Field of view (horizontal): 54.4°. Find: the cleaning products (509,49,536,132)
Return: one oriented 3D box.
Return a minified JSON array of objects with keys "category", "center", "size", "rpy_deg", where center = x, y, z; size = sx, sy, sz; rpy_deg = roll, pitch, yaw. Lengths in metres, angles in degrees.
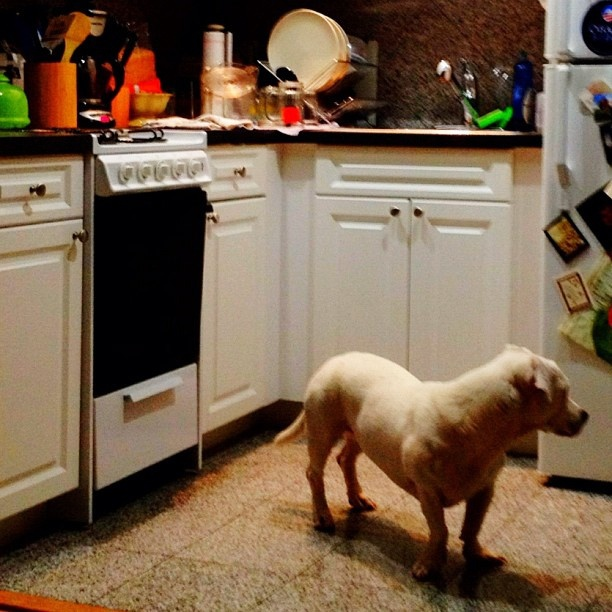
[{"category":"cleaning products","center":[0.823,-0.828,2.272],"size":[0.093,0.339,0.204],"rpy_deg":[1,4,18]}]

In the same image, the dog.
[{"category":"dog","center":[0.249,0.319,1.275],"size":[0.589,0.492,0.236],"rpy_deg":[4,6,42]}]

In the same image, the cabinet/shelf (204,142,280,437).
[{"category":"cabinet/shelf","center":[-0.205,-0.079,1.974],"size":[0.112,0.920,0.460],"rpy_deg":[1,4,21]}]

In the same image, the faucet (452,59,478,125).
[{"category":"faucet","center":[0.654,-0.895,2.410],"size":[0.098,0.240,0.097],"rpy_deg":[-1,4,-13]}]

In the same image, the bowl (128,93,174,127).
[{"category":"bowl","center":[-0.562,-0.679,2.128],"size":[0.141,0.091,0.137],"rpy_deg":[2,14,0]}]

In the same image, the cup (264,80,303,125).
[{"category":"cup","center":[-0.088,-0.762,2.244],"size":[0.149,0.199,0.197],"rpy_deg":[0,4,-3]}]

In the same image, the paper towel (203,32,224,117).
[{"category":"paper towel","center":[-0.370,-0.928,2.362],"size":[0.092,0.380,0.205],"rpy_deg":[-1,4,-9]}]
